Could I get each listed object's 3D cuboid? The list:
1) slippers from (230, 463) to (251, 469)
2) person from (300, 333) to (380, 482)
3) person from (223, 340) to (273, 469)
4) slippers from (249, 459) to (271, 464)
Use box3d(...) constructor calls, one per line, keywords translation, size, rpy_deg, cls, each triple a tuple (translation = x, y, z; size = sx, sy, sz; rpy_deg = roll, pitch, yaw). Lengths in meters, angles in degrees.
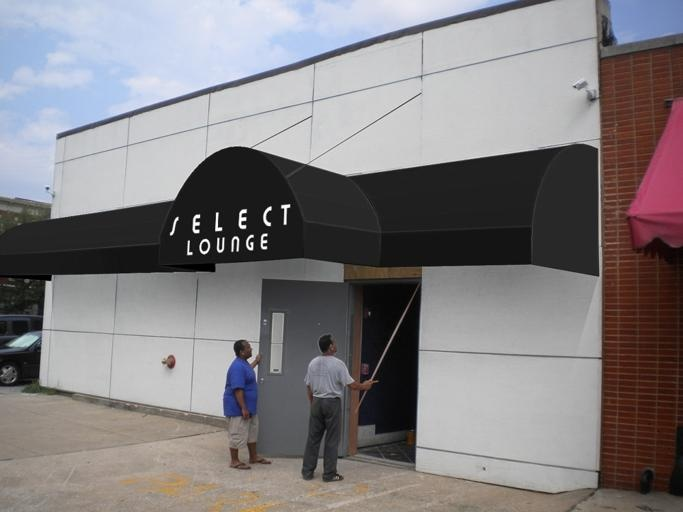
box3d(translation=(-1.589, 3.273, 8.527), size=(0.321, 0.094, 0.188), rpy_deg=(3, -7, -14), cls="slippers")
box3d(translation=(-0.205, 2.437, 8.222), size=(0.770, 1.837, 0.357), rpy_deg=(1, -6, 0), cls="person")
box3d(translation=(-1.555, 2.348, 8.737), size=(0.573, 1.983, 0.878), rpy_deg=(0, -6, 14), cls="person")
box3d(translation=(-1.325, 3.332, 8.856), size=(0.305, 0.094, 0.131), rpy_deg=(1, -5, -8), cls="slippers")
